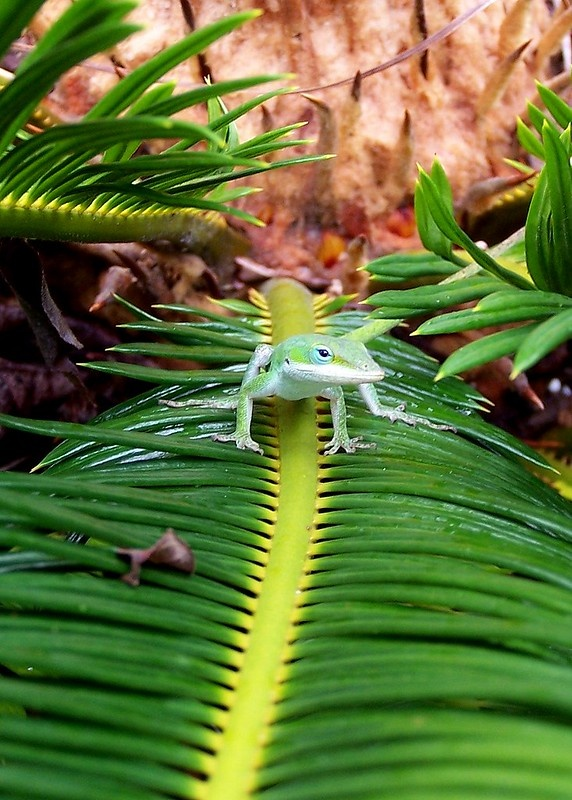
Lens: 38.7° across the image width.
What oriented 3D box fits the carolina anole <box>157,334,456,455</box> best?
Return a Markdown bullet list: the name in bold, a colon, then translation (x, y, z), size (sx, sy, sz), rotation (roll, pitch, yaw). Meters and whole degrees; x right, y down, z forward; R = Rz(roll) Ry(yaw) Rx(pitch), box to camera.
- **carolina anole**: translation (-0.025, 0.008, 1.304), size (0.352, 0.116, 0.403), rotation (-9, -7, -44)
